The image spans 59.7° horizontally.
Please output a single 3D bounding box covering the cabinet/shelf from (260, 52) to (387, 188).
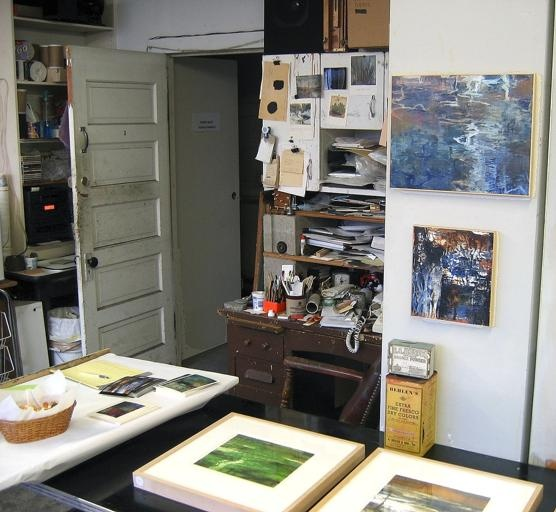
[{"bbox_3d":[0.266,-0.802,2.806,0.891,0.835,0.290,8,14,27],"label":"cabinet/shelf"}]

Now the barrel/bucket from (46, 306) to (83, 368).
[{"bbox_3d":[-1.540,0.585,3.425,0.218,0.370,0.374,-6,12,-26],"label":"barrel/bucket"}]

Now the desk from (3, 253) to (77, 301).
[{"bbox_3d":[-1.678,0.131,3.502,0.398,0.312,0.519,7,14,35],"label":"desk"}]

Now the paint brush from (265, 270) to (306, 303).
[{"bbox_3d":[0.034,0.193,2.866,0.168,0.078,0.225,4,13,26],"label":"paint brush"}]

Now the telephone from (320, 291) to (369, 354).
[{"bbox_3d":[0.379,0.371,2.763,0.281,0.252,0.459,2,12,11],"label":"telephone"}]

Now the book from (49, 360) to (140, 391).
[{"bbox_3d":[-0.587,0.375,1.553,0.260,0.029,0.190,8,15,36],"label":"book"}]

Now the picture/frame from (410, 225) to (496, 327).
[{"bbox_3d":[0.495,0.050,1.340,0.270,0.310,0.043,6,9,34],"label":"picture/frame"}]

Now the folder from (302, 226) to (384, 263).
[{"bbox_3d":[0.417,-0.083,2.956,0.569,0.186,0.258,7,14,33],"label":"folder"}]
